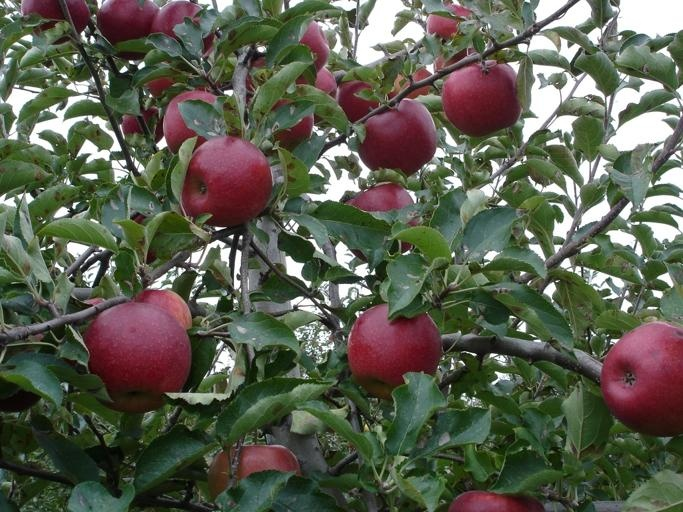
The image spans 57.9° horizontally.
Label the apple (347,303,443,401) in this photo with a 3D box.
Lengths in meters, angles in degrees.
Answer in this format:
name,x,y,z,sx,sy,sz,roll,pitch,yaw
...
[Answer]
name,x,y,z,sx,sy,sz,roll,pitch,yaw
apple,0.172,0.327,2.059,0.287,0.299,0.281,31,-30,-21
